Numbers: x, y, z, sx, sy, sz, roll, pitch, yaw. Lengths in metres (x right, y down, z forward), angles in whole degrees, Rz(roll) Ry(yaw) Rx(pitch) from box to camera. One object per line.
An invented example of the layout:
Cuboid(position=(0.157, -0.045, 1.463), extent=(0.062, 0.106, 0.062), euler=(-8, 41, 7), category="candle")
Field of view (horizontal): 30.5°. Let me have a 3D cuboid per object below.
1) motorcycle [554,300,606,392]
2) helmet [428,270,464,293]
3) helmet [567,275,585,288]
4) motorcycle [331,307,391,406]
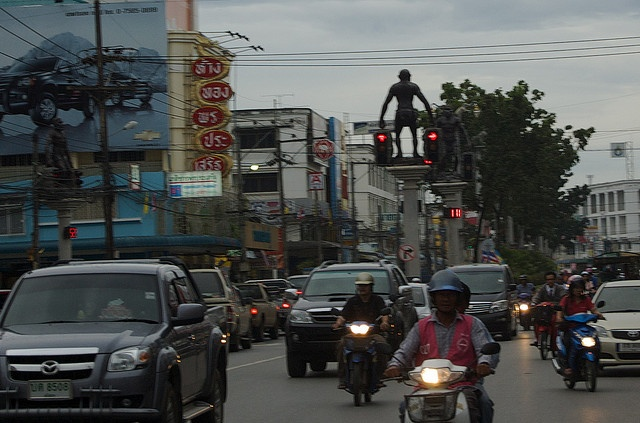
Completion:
Cuboid(position=(5.922, 3.200, 26.879), extent=(1.164, 1.718, 0.650), euler=(-1, 2, 38), category="motorcycle")
Cuboid(position=(2.109, 1.162, 19.575), extent=(0.544, 0.363, 0.433), euler=(-1, 1, 4), category="helmet")
Cuboid(position=(6.340, 1.676, 28.956), extent=(0.359, 0.221, 0.362), euler=(0, -8, -12), category="helmet")
Cuboid(position=(0.920, 3.228, 25.335), extent=(1.231, 1.078, 2.217), euler=(-2, -6, 7), category="motorcycle")
